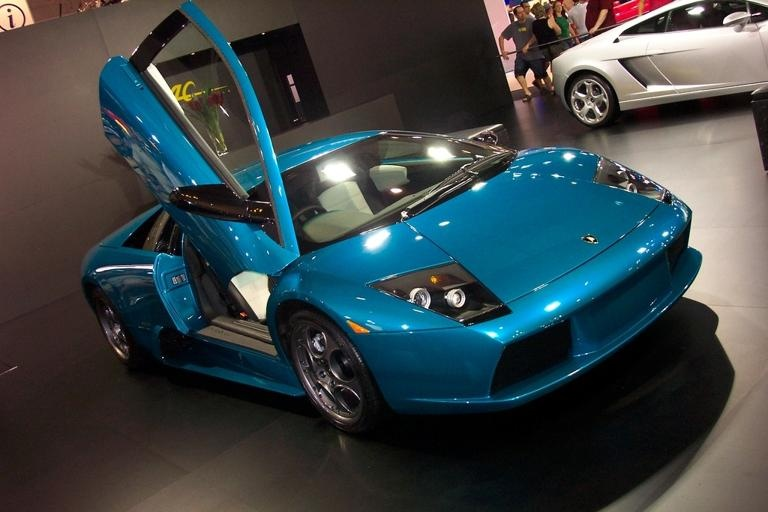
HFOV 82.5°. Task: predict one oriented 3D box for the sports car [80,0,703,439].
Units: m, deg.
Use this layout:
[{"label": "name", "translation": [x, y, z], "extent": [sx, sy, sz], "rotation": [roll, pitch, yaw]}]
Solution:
[{"label": "sports car", "translation": [-0.267, -0.112, 3.215], "extent": [3.912, 2.112, 2.550], "rotation": [9, 39, 43]}]
